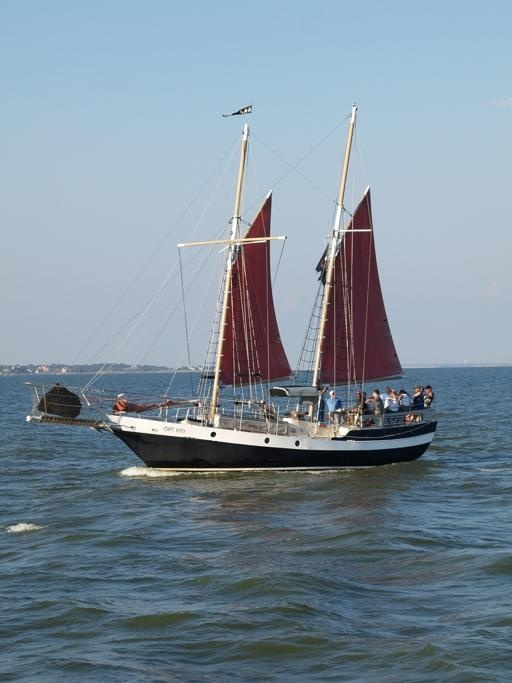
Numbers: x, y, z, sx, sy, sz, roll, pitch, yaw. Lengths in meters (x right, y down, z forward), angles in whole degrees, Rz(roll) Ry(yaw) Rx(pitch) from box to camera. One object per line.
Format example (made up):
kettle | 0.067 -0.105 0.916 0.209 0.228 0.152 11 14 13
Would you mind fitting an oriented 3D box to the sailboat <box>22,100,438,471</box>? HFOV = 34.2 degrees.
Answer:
sailboat | 1.243 -2.725 37.751 11.026 13.899 10.505 -1 -1 22
